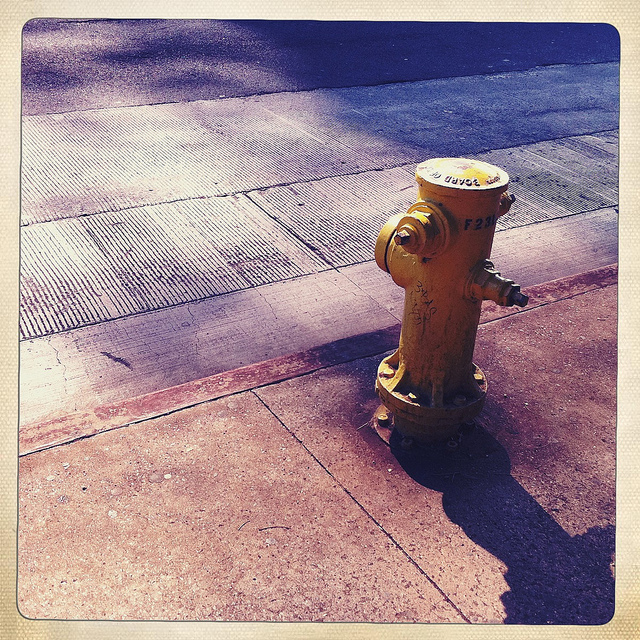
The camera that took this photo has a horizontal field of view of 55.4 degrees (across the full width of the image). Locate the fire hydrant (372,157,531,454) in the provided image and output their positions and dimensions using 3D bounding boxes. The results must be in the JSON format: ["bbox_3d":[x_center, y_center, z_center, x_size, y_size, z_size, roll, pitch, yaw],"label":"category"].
[{"bbox_3d":[0.710,-0.120,3.509,0.716,1.505,0.577,1,29,-2],"label":"fire hydrant"}]
